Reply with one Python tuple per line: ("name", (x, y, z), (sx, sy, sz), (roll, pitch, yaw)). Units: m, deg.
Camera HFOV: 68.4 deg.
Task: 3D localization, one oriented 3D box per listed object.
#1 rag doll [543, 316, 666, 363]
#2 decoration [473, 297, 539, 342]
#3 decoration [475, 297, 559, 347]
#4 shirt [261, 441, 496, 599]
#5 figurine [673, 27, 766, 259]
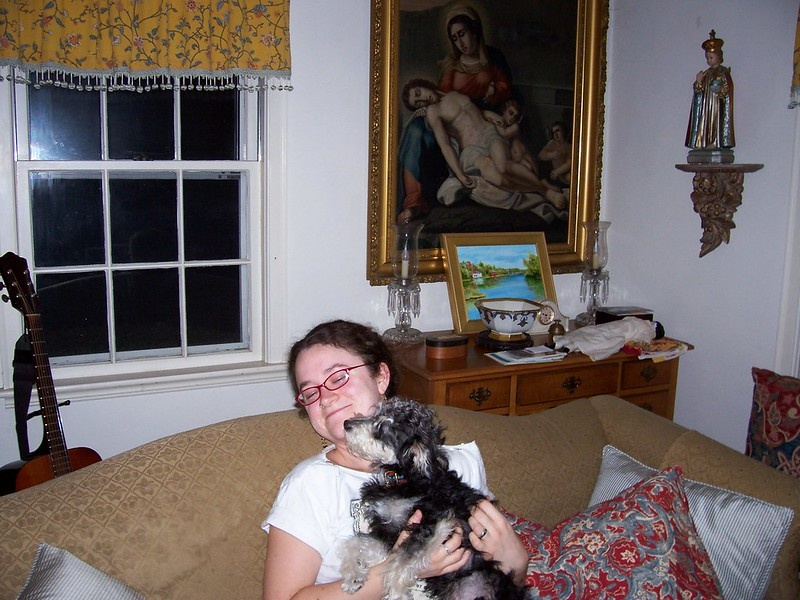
("rag doll", (1.259, 0.186, 3.546), (0.492, 0.169, 0.285), (-10, 17, -13))
("decoration", (0.671, 0.144, 3.607), (0.310, 0.182, 0.365), (3, 1, -3))
("decoration", (0.670, 0.107, 3.553), (0.313, 0.181, 0.340), (1, 8, -31))
("shirt", (-0.122, 0.622, 1.874), (0.476, 0.196, 0.468), (-36, 32, -29))
("figurine", (1.847, -0.913, 3.424), (0.268, 1.245, 0.443), (0, 3, -33))
